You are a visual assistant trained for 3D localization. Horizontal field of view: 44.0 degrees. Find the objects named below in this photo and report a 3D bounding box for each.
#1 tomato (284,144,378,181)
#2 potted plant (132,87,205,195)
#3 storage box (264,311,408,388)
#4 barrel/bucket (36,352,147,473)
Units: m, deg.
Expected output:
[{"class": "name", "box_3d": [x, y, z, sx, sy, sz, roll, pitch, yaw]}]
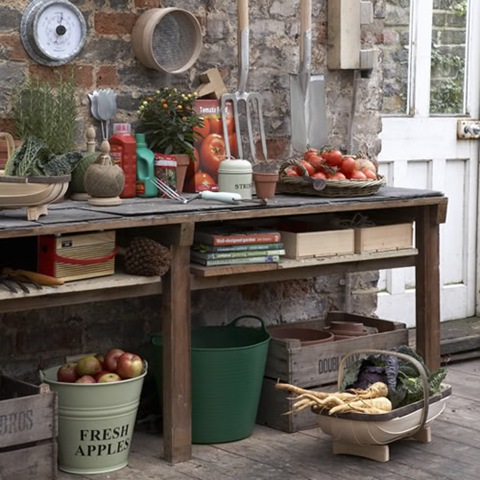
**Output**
[{"class": "tomato", "box_3d": [0.399, -0.344, 2.684, 0.386, 0.150, 0.429, -5, 9, -38]}, {"class": "potted plant", "box_3d": [-0.319, -0.448, 2.603, 0.276, 0.460, 0.223, -11, 21, -36]}, {"class": "storage box", "box_3d": [0.352, 0.475, 2.764, 0.709, 0.242, 0.458, -5, 15, -28]}, {"class": "barrel/bucket", "box_3d": [-0.542, 0.615, 2.228, 0.319, 0.375, 0.310, 2, 13, 0]}]
